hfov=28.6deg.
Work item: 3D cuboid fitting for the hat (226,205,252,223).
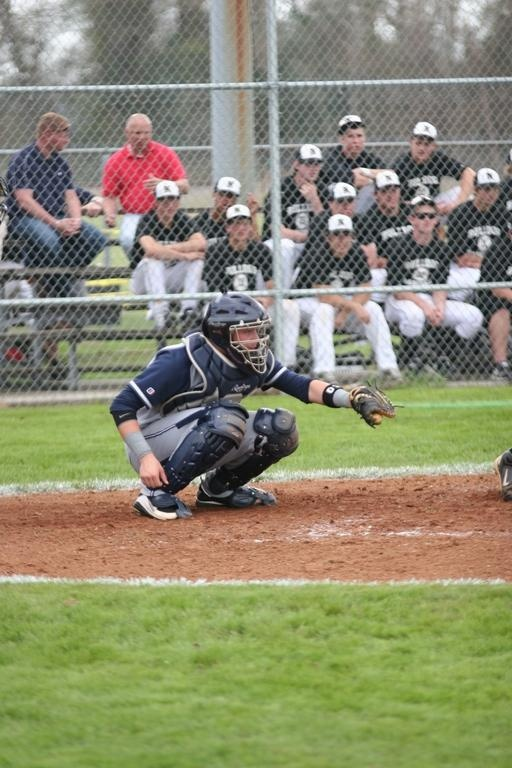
[{"bbox_3d":[-0.119,-1.103,6.524,0.174,0.114,0.217,-2,8,-1],"label":"hat"}]

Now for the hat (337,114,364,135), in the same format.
[{"bbox_3d":[0.630,-1.734,6.702,0.168,0.132,0.226,-1,8,5],"label":"hat"}]

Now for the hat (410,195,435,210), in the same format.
[{"bbox_3d":[1.101,-1.217,6.702,0.164,0.093,0.190,-2,8,1],"label":"hat"}]

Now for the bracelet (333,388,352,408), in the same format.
[{"bbox_3d":[0.324,0.053,3.831,0.065,0.066,0.076,21,-27,13],"label":"bracelet"}]

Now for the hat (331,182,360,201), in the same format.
[{"bbox_3d":[0.574,-1.288,6.713,0.160,0.126,0.206,-2,8,-3],"label":"hat"}]

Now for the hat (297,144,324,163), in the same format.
[{"bbox_3d":[0.357,-1.549,6.729,0.172,0.126,0.209,-2,8,2],"label":"hat"}]

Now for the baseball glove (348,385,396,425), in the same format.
[{"bbox_3d":[0.428,0.091,3.756,0.157,0.167,0.154,3,10,31],"label":"baseball glove"}]

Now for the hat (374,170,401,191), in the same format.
[{"bbox_3d":[0.865,-1.353,6.652,0.158,0.140,0.230,-1,8,6],"label":"hat"}]

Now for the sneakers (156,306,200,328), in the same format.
[{"bbox_3d":[-0.498,-0.465,6.709,0.267,0.082,0.201,0,7,18],"label":"sneakers"}]

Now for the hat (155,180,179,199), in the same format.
[{"bbox_3d":[-0.570,-1.238,6.418,0.153,0.121,0.209,-2,8,-4],"label":"hat"}]

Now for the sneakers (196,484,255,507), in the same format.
[{"bbox_3d":[-0.123,0.450,4.079,0.192,0.061,0.106,-1,0,3],"label":"sneakers"}]

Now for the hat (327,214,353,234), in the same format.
[{"bbox_3d":[0.545,-1.050,6.578,0.163,0.121,0.121,-2,9,1],"label":"hat"}]

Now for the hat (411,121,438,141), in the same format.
[{"bbox_3d":[1.113,-1.686,6.677,0.148,0.142,0.231,0,8,12],"label":"hat"}]

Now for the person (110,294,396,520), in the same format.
[{"bbox_3d":[-0.108,0.113,3.987,1.213,0.782,0.794,1,4,21],"label":"person"}]

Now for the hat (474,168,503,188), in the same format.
[{"bbox_3d":[1.606,-1.411,6.868,0.239,0.124,0.122,-5,9,-23],"label":"hat"}]

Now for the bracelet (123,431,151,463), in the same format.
[{"bbox_3d":[-0.433,0.223,3.643,0.077,0.105,0.109,-6,10,-23],"label":"bracelet"}]

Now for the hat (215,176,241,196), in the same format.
[{"bbox_3d":[-0.188,-1.280,6.550,0.161,0.124,0.184,-2,8,-3],"label":"hat"}]

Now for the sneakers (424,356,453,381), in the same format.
[{"bbox_3d":[1.270,-0.100,6.960,0.196,0.064,0.188,33,51,17],"label":"sneakers"}]

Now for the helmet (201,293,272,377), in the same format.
[{"bbox_3d":[-0.076,-0.184,3.696,0.251,0.292,0.199,-2,9,1],"label":"helmet"}]
